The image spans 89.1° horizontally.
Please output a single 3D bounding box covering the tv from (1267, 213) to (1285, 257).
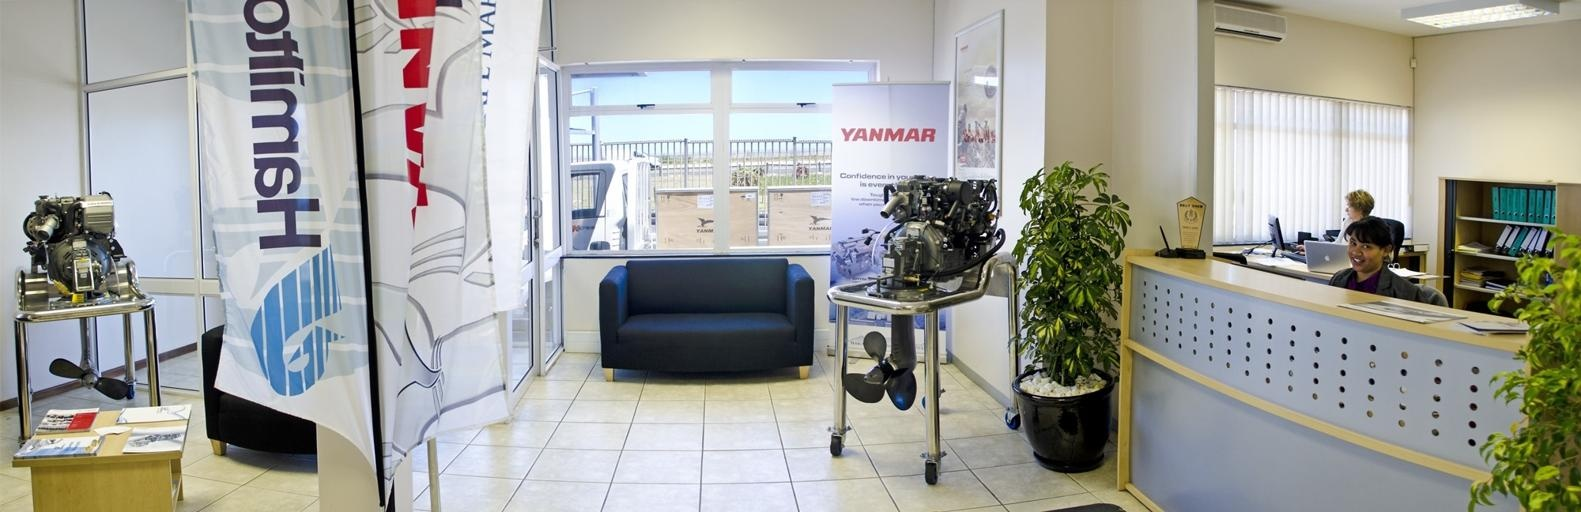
[{"bbox_3d":[6.360,-0.311,10.590,0.227,0.482,0.062,-6,12,-12],"label":"tv"}]

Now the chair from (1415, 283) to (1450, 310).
[{"bbox_3d":[7.923,0.469,9.988,0.330,0.238,0.280,-10,12,-37],"label":"chair"}]

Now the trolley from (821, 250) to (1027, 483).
[{"bbox_3d":[1.339,1.256,11.279,2.371,3.116,2.419,-2,3,-20],"label":"trolley"}]

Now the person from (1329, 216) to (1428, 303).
[{"bbox_3d":[7.345,0.032,10.198,1.154,1.071,1.521,1,0,-39],"label":"person"}]

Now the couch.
[{"bbox_3d":[-1.256,0.969,12.498,3.225,1.768,0.952,-2,11,0],"label":"couch"}]
